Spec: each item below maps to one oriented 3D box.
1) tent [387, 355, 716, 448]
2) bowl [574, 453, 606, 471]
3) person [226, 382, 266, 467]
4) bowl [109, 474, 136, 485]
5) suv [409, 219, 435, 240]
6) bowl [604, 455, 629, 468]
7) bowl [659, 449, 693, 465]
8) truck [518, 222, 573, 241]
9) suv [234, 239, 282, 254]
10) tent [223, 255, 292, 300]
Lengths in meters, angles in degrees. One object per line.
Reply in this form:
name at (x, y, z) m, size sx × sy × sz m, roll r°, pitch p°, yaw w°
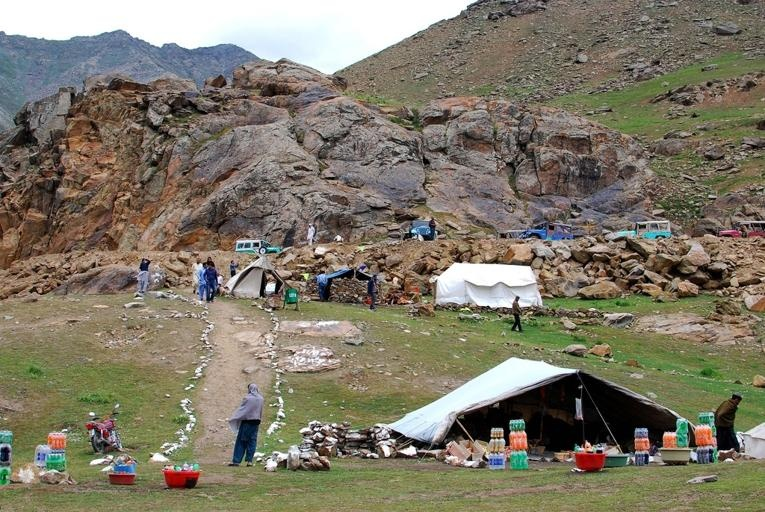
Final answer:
tent at (7.068, 6.691, 36.428) m, size 11.176 × 4.220 × 2.468 m, roll 0°, pitch -14°, yaw 0°
bowl at (8.417, 8.356, 32.752) m, size 1.012 × 0.446 × 0.934 m, roll 0°, pitch -4°, yaw 0°
person at (-5.669, 7.000, 33.399) m, size 1.196 × 3.337 × 1.131 m, roll 2°, pitch -14°, yaw -8°
bowl at (-10.051, 8.596, 30.989) m, size 0.824 × 0.197 × 0.471 m, roll 0°, pitch -4°, yaw -1°
suv at (3.234, -2.074, 64.484) m, size 2.498 × 1.264 × 1.963 m, roll -1°, pitch -1°, yaw 7°
bowl at (9.619, 8.455, 33.259) m, size 0.945 × 0.226 × 0.530 m, roll -1°, pitch -4°, yaw -2°
bowl at (12.015, 8.246, 33.222) m, size 1.137 × 0.318 × 0.753 m, roll 0°, pitch -5°, yaw -14°
truck at (13.778, -1.941, 67.030) m, size 3.973 × 1.250 × 1.932 m, roll 3°, pitch -5°, yaw -19°
suv at (-9.539, -0.715, 60.904) m, size 3.197 × 1.427 × 1.950 m, roll 0°, pitch -12°, yaw -4°
tent at (-8.525, 1.443, 52.977) m, size 3.578 × 3.003 × 1.312 m, roll 2°, pitch -14°, yaw -9°
